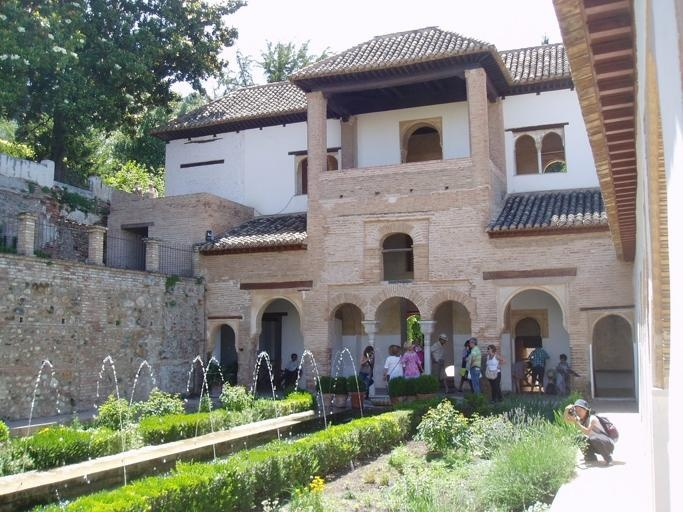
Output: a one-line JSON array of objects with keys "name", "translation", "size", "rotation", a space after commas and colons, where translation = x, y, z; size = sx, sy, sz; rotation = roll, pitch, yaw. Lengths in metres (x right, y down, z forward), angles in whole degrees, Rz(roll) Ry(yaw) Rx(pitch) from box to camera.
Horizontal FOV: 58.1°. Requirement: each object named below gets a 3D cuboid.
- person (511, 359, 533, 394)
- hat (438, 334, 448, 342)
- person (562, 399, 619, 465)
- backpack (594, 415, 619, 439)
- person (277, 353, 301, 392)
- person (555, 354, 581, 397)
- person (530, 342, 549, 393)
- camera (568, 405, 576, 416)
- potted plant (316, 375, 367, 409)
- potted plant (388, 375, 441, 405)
[{"name": "person", "translation": [5.789, 3.854, 19.733], "size": [0.616, 1.089, 2.529], "rotation": [-2, -8, 15]}, {"name": "hat", "translation": [3.181, 2.569, 19.353], "size": [0.242, 0.144, 0.351], "rotation": [10, -9, -2]}, {"name": "person", "translation": [3.801, 2.654, 9.301], "size": [0.814, 0.916, 0.651], "rotation": [4, -20, 9]}, {"name": "backpack", "translation": [3.947, 2.530, 9.080], "size": [0.130, 0.376, 0.268], "rotation": [-43, -2, 38]}, {"name": "person", "translation": [-1.780, 4.028, 21.229], "size": [0.652, 0.972, 1.606], "rotation": [3, 25, 4]}, {"name": "person", "translation": [6.415, 3.367, 17.544], "size": [0.563, 1.115, 1.546], "rotation": [-2, -8, 17]}, {"name": "person", "translation": [6.194, 3.448, 19.259], "size": [0.515, 1.461, 0.999], "rotation": [-3, -8, 28]}, {"name": "camera", "translation": [3.558, 2.405, 9.546], "size": [0.111, 0.145, 0.154], "rotation": [1, -22, 0]}, {"name": "potted plant", "translation": [0.112, 3.621, 16.677], "size": [0.866, 0.688, 0.958], "rotation": [-6, -14, 21]}, {"name": "potted plant", "translation": [1.799, 3.357, 15.552], "size": [0.827, 0.508, 0.848], "rotation": [-12, -17, 27]}]
